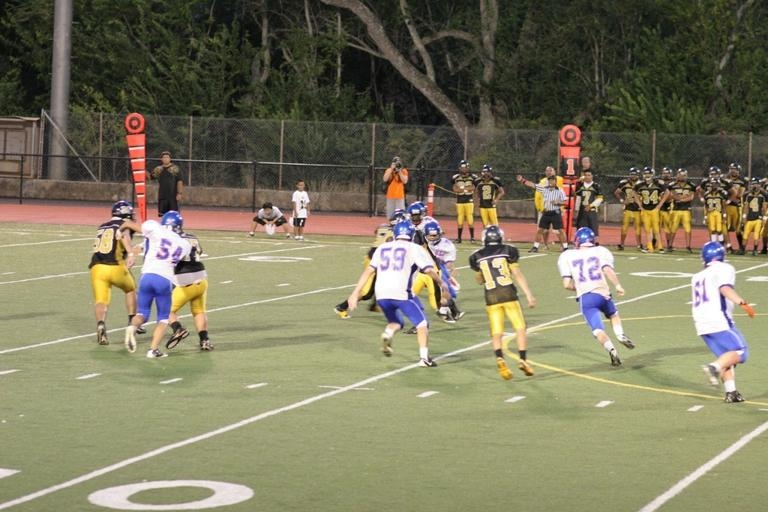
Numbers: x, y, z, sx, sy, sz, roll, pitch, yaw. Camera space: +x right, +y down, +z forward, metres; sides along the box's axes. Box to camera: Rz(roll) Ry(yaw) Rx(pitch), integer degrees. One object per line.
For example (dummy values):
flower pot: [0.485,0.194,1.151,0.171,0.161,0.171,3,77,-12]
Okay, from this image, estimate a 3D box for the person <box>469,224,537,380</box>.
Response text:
person: [1.693,0.644,12.475,0.769,2.099,1.001,0,4,-18]

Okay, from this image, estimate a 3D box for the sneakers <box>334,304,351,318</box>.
sneakers: [-0.701,0.909,14.654,0.192,0.217,0.516,38,1,12]

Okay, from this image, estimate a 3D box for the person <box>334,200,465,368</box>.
person: [0.211,0.573,12.909,1.151,2.129,0.708,1,3,0]

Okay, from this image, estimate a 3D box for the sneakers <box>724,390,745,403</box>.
sneakers: [4.469,1.805,11.311,0.340,0.129,0.115,-6,8,-34]

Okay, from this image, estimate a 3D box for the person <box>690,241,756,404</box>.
person: [4.304,0.874,11.325,0.704,2.028,0.927,2,3,13]

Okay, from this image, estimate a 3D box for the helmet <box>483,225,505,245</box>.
helmet: [1.564,-0.303,12.738,0.263,0.257,0.307,3,16,8]

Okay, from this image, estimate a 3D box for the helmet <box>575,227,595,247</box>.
helmet: [3.101,-0.270,13.558,0.293,0.308,0.306,6,-10,3]

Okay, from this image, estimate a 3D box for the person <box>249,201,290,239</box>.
person: [-3.816,-1.183,29.953,1.552,1.064,1.348,3,1,7]

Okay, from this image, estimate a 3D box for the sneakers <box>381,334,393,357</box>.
sneakers: [0.025,1.323,12.713,0.148,0.350,0.165,-1,26,-1]

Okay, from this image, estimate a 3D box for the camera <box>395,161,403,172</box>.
camera: [0.407,-2.638,26.031,0.215,0.252,0.263,0,-1,0]

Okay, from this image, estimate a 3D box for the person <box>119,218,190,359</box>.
person: [-3.356,0.447,13.213,0.908,2.180,0.814,0,3,-12]

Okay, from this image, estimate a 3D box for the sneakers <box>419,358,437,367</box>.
sneakers: [0.631,1.570,12.937,0.264,0.101,0.112,-2,7,-44]
